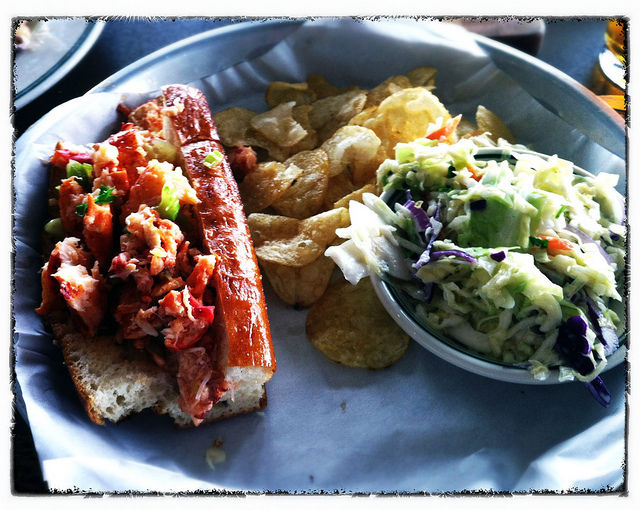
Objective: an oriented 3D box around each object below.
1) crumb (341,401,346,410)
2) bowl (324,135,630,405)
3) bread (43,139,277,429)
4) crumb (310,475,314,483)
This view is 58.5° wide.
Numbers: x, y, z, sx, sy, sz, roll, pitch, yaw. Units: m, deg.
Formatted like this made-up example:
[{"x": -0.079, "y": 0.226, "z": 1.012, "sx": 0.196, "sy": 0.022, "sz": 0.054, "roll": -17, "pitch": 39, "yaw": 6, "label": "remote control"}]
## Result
[{"x": 0.081, "y": 0.510, "z": 1.945, "sx": 0.018, "sy": 0.006, "sz": 0.018, "roll": -9, "pitch": 67, "yaw": -7, "label": "crumb"}, {"x": 0.608, "y": -0.035, "z": 1.909, "sx": 0.990, "sy": 0.318, "sz": 0.820, "roll": 25, "pitch": 58, "yaw": 16, "label": "bowl"}, {"x": -0.491, "y": 0.070, "z": 1.900, "sx": 0.702, "sy": 0.277, "sz": 0.890, "roll": -16, "pitch": 80, "yaw": -10, "label": "bread"}, {"x": -0.026, "y": 0.712, "z": 1.822, "sx": 0.013, "sy": 0.002, "sz": 0.023, "roll": -5, "pitch": 55, "yaw": -5, "label": "crumb"}]
